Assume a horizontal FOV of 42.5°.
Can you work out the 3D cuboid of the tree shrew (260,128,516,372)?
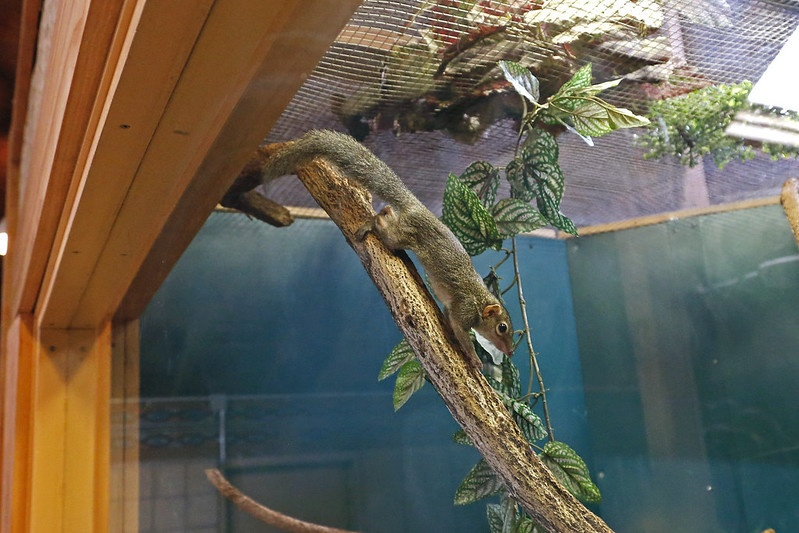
[{"bbox_3d":[-0.034,-0.055,2.362,0.635,0.211,0.143,46,7,-10],"label":"tree shrew"}]
